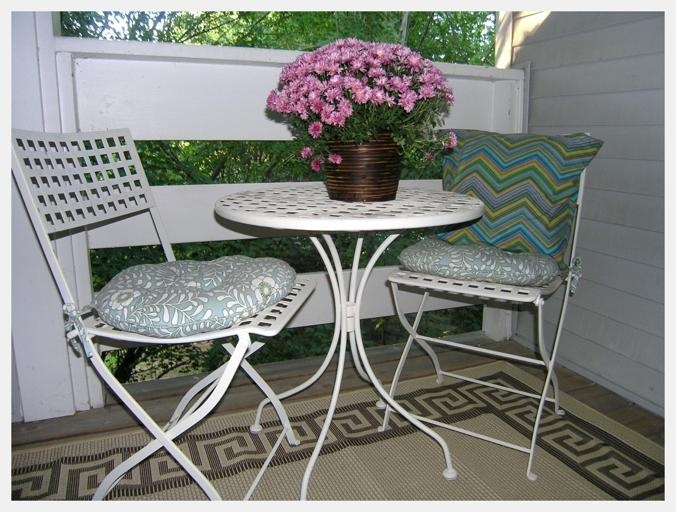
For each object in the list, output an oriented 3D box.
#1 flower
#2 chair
[{"bbox_3d":[0.082,-0.476,1.616,0.527,0.328,0.440,-14,35,-24],"label":"flower"},{"bbox_3d":[-0.351,0.028,1.908,1.981,1.357,1.110,3,20,6],"label":"chair"}]
